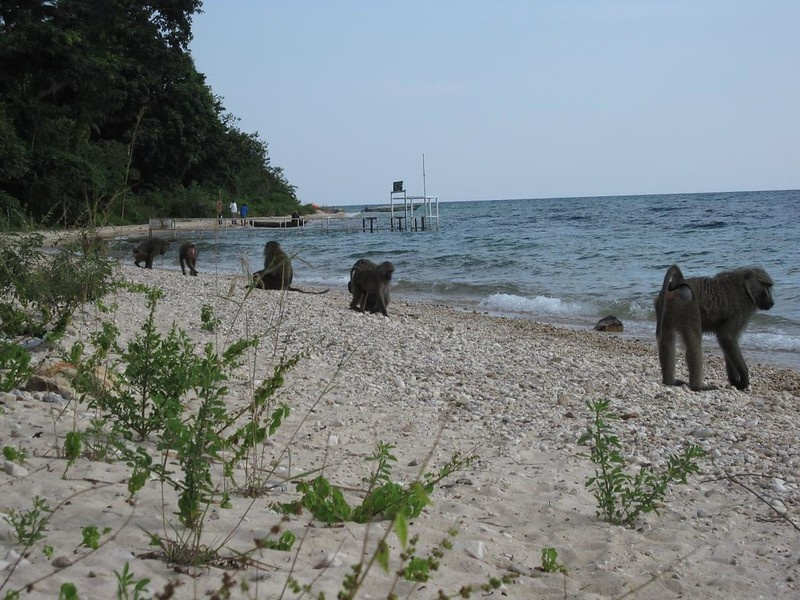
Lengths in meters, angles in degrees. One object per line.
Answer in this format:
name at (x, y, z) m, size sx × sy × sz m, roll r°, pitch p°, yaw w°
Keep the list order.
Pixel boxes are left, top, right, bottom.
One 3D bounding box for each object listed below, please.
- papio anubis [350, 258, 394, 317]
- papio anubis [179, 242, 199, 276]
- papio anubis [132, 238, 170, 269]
papio anubis at (-0.602, -0.264, 14.839) m, size 0.761 × 1.148 × 1.555 m, roll -2°, pitch 4°, yaw -26°
papio anubis at (-6.040, -1.159, 20.201) m, size 0.402 × 0.915 × 1.092 m, roll -1°, pitch 3°, yaw -20°
papio anubis at (-7.720, -1.461, 21.883) m, size 0.947 × 0.965 × 2.742 m, roll -1°, pitch 4°, yaw -17°
